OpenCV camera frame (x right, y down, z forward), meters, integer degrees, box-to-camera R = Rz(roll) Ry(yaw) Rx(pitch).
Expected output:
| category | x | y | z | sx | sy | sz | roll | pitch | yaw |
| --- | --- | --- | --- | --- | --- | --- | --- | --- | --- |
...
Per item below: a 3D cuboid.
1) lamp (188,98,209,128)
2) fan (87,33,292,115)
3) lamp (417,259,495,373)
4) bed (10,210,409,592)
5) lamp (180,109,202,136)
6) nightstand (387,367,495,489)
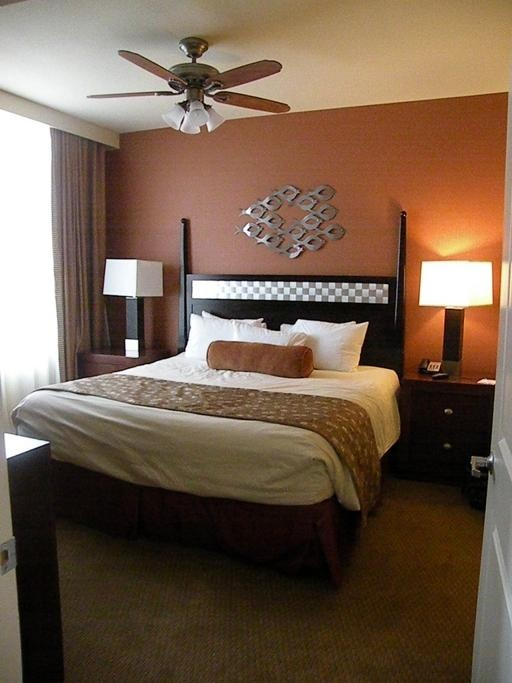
| category | x | y | z | sx | sy | sz | roll | pitch | yaw |
| --- | --- | --- | --- | --- | --- | --- | --- | --- | --- |
| lamp | -0.294 | -1.159 | 2.763 | 0.099 | 0.108 | 0.104 | 16 | -34 | -37 |
| fan | -0.239 | -1.297 | 2.696 | 0.791 | 0.238 | 0.832 | 1 | 6 | 3 |
| lamp | 1.337 | -0.150 | 3.579 | 0.501 | 0.751 | 0.308 | -1 | 7 | -20 |
| bed | -0.121 | 0.131 | 3.300 | 2.122 | 1.908 | 2.054 | 3 | 7 | 26 |
| lamp | -0.336 | -1.130 | 2.797 | 0.096 | 0.188 | 0.120 | 10 | -35 | -7 |
| nightstand | 1.275 | 0.673 | 3.621 | 0.638 | 0.662 | 0.478 | 0 | -31 | 20 |
